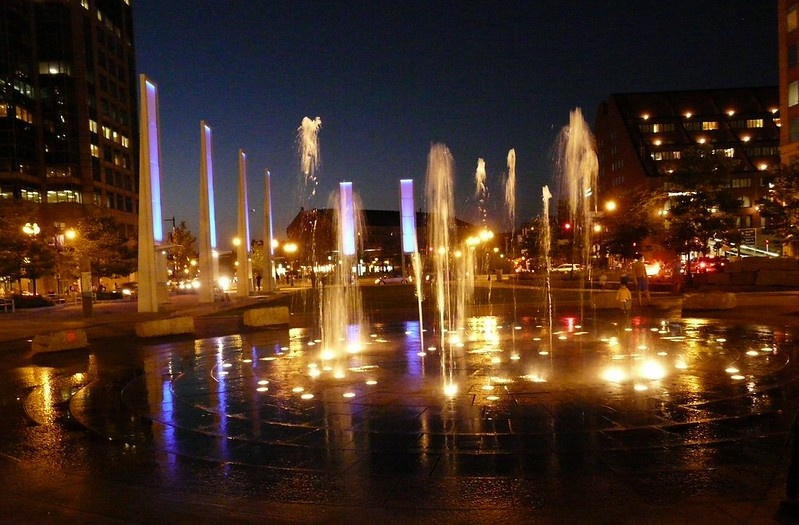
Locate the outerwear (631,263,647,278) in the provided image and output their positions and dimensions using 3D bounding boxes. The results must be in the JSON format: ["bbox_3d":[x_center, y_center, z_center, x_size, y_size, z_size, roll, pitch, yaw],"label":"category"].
[{"bbox_3d":[11.266,0.391,33.595,0.794,0.847,0.489,1,18,22],"label":"outerwear"}]
